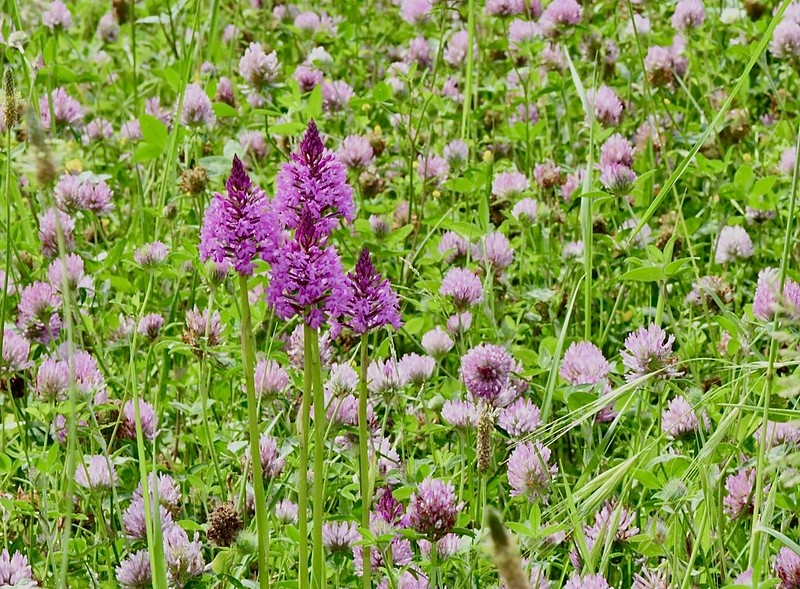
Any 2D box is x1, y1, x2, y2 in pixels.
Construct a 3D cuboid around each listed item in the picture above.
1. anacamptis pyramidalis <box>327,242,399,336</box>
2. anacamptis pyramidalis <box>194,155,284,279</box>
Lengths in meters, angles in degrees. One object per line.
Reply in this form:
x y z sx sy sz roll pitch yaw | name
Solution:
-0.093 -0.014 3.389 0.197 0.337 0.221 -2 0 17 | anacamptis pyramidalis
-0.462 -0.213 3.296 0.258 0.474 0.283 -2 -2 -21 | anacamptis pyramidalis
